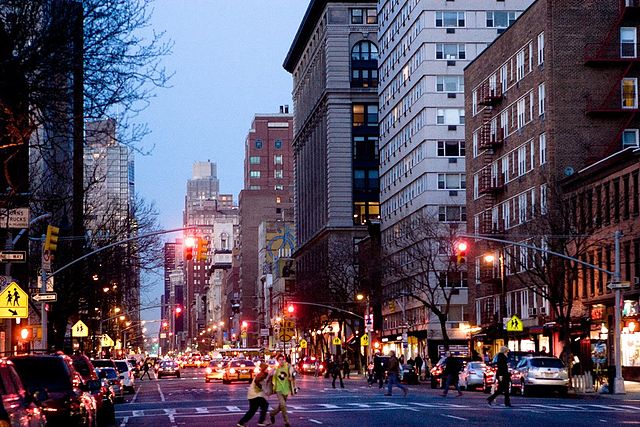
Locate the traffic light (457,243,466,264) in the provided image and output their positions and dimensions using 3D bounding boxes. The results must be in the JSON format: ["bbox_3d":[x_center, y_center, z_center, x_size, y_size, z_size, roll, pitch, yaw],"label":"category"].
[{"bbox_3d":[8.089,2.239,64.869,0.490,1.250,1.467,-2,-12,6],"label":"traffic light"}]

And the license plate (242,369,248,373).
[{"bbox_3d":[-5.542,11.858,85.201,0.258,0.277,0.147,1,-2,3],"label":"license plate"}]

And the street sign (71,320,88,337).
[{"bbox_3d":[-15.313,7.400,73.210,0.877,1.176,2.281,2,-13,-14],"label":"street sign"}]

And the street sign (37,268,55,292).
[{"bbox_3d":[-14.210,3.491,59.432,0.183,1.505,1.241,4,-11,-30],"label":"street sign"}]

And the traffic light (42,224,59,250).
[{"bbox_3d":[-13.295,1.198,56.452,0.650,0.417,1.401,7,-46,-2],"label":"traffic light"}]

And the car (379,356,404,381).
[{"bbox_3d":[4.870,11.389,81.273,1.928,1.623,3.344,0,-4,-6],"label":"car"}]

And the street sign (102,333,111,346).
[{"bbox_3d":[-18.899,11.399,101.145,0.870,1.346,1.263,1,-9,-4],"label":"street sign"}]

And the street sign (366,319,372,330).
[{"bbox_3d":[4.315,9.791,100.197,0.373,0.828,0.726,-4,-12,16],"label":"street sign"}]

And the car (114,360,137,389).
[{"bbox_3d":[-12.714,10.499,74.807,1.041,1.149,2.245,0,1,-3],"label":"car"}]

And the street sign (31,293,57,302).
[{"bbox_3d":[-13.363,4.092,55.915,1.205,0.431,0.706,-3,-13,11],"label":"street sign"}]

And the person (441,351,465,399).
[{"bbox_3d":[7.360,8.821,62.841,1.186,2.876,0.814,5,25,3],"label":"person"}]

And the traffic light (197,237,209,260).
[{"bbox_3d":[-6.866,2.002,67.286,0.548,1.440,1.624,1,-12,-6],"label":"traffic light"}]
